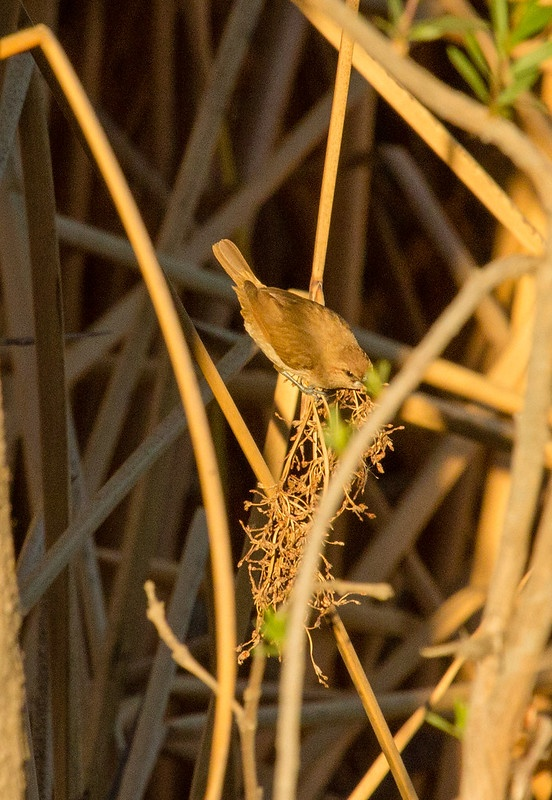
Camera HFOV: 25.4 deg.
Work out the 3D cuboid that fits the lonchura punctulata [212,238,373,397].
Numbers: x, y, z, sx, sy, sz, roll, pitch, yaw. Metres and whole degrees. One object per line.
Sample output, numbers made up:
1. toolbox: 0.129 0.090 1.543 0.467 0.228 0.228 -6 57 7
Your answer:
1. lonchura punctulata: 0.010 -0.055 0.832 0.039 0.031 0.103 -42 -109 50
